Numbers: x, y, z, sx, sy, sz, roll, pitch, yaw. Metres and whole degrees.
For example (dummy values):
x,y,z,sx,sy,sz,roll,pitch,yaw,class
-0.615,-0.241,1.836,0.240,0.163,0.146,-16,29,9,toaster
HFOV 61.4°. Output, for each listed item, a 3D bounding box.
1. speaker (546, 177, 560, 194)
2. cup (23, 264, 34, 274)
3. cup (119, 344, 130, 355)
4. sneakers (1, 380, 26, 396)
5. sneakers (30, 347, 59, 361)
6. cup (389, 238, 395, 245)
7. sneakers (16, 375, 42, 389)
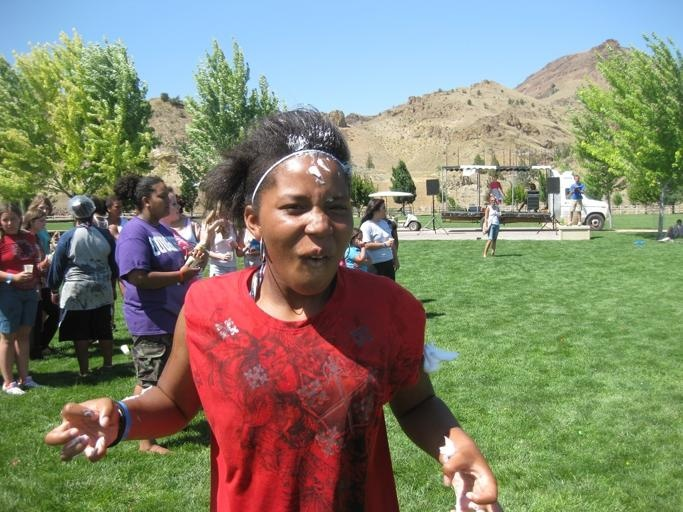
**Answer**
x,y,z,sx,sy,sz,roll,pitch,yaw,class
10.702,-3.592,29.089,0.622,0.807,0.405,2,10,22,speaker
-3.693,0.148,6.746,0.105,0.090,0.111,-5,-11,-1,cup
-3.201,1.359,8.418,0.117,0.129,0.125,12,32,-8,cup
-3.924,1.561,6.881,0.318,0.150,0.126,9,8,11,sneakers
-4.472,1.470,8.622,0.345,0.271,0.121,0,2,18,sneakers
0.764,-0.237,8.924,0.081,0.079,0.146,15,12,-26,cup
-3.873,1.545,7.089,0.300,0.151,0.106,4,2,-9,sneakers
